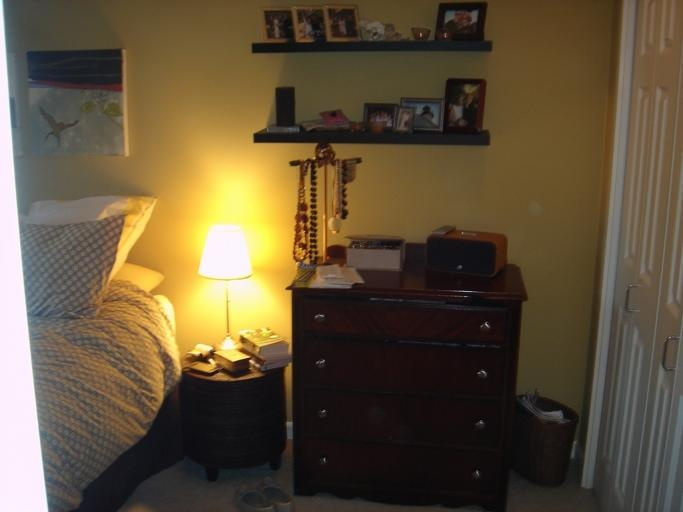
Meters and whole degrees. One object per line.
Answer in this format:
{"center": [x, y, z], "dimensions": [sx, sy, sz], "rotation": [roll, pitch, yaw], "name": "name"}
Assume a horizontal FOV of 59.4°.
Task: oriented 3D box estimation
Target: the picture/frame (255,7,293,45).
{"center": [-0.334, -1.223, 3.190], "dimensions": [0.166, 0.171, 0.047], "rotation": [3, 14, 11], "name": "picture/frame"}

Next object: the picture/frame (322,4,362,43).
{"center": [-0.004, -1.213, 3.128], "dimensions": [0.199, 0.195, 0.034], "rotation": [-1, 21, 4], "name": "picture/frame"}

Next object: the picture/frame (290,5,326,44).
{"center": [-0.168, -1.217, 3.144], "dimensions": [0.198, 0.208, 0.030], "rotation": [1, 18, 13], "name": "picture/frame"}

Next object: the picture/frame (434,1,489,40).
{"center": [0.621, -1.221, 3.102], "dimensions": [0.217, 0.206, 0.034], "rotation": [5, 0, 16], "name": "picture/frame"}

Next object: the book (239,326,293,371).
{"center": [-0.431, 0.491, 3.306], "dimensions": [0.181, 0.085, 0.241], "rotation": [-2, 17, -29], "name": "book"}

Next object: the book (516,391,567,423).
{"center": [1.071, 0.834, 3.273], "dimensions": [0.149, 0.082, 0.191], "rotation": [10, 18, -18], "name": "book"}

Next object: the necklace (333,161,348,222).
{"center": [-0.007, -0.354, 3.166], "dimensions": [0.067, 0.308, 0.163], "rotation": [0, 13, -2], "name": "necklace"}

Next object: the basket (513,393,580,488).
{"center": [1.037, 0.995, 3.372], "dimensions": [0.355, 0.465, 0.468], "rotation": [1, 10, 6], "name": "basket"}

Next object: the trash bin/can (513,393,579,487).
{"center": [1.038, 1.000, 3.401], "dimensions": [0.354, 0.463, 0.468], "rotation": [1, 11, 2], "name": "trash bin/can"}

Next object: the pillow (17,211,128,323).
{"center": [-1.352, 0.071, 3.099], "dimensions": [0.639, 0.665, 0.201], "rotation": [-5, -9, 7], "name": "pillow"}

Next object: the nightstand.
{"center": [-0.576, 0.822, 3.406], "dimensions": [0.551, 0.583, 0.596], "rotation": [-3, 6, -27], "name": "nightstand"}

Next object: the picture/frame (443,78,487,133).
{"center": [0.646, -0.794, 3.168], "dimensions": [0.260, 0.375, 0.038], "rotation": [5, -1, 15], "name": "picture/frame"}

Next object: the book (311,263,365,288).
{"center": [-0.015, 0.089, 2.996], "dimensions": [0.253, 0.071, 0.280], "rotation": [2, 14, 1], "name": "book"}

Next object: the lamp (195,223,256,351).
{"center": [-0.656, 0.185, 3.444], "dimensions": [0.287, 0.695, 0.418], "rotation": [-1, 13, -7], "name": "lamp"}

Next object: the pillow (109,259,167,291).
{"center": [-1.174, 0.116, 3.484], "dimensions": [0.178, 0.126, 0.166], "rotation": [11, 0, -39], "name": "pillow"}
